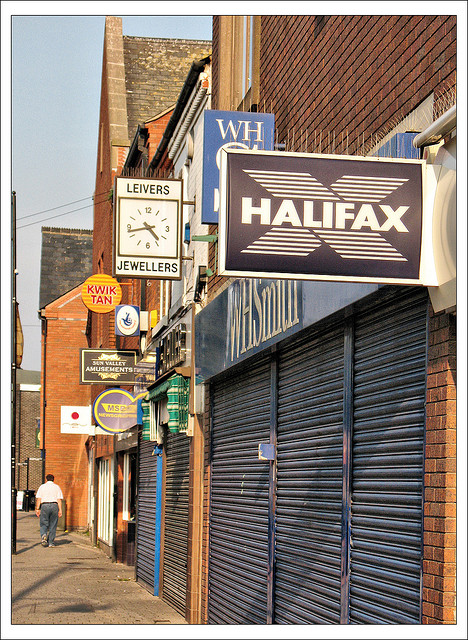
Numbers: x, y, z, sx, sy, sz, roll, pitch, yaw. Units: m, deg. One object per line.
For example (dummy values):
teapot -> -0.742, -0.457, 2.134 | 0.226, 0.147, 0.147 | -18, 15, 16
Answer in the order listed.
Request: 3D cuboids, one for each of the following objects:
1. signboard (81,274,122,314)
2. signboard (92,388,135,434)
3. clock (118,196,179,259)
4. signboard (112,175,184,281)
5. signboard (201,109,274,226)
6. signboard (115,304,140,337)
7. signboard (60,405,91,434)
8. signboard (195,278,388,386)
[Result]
signboard -> -2.825, -0.611, 24.599 | 0.840, 0.119, 1.255 | 1, -49, -7
signboard -> -2.103, 1.600, 20.418 | 0.628, 0.814, 0.098 | -18, -12, -26
clock -> -0.820, -0.846, 10.702 | 0.429, 0.581, 0.036 | 4, -9, -32
signboard -> -0.802, -0.822, 10.726 | 0.640, 1.202, 0.105 | 2, -36, -5
signboard -> 0.173, -1.529, 11.760 | 0.796, 0.116, 1.510 | 8, -47, 25
signboard -> -1.979, -0.019, 21.418 | 0.461, 0.629, 0.451 | 2, -9, -7
signboard -> -4.126, 2.579, 30.020 | 0.813, 0.990, 0.143 | 2, -12, 9
signboard -> 0.406, -0.159, 11.725 | 0.054, 0.832, 3.841 | 5, 10, 21
